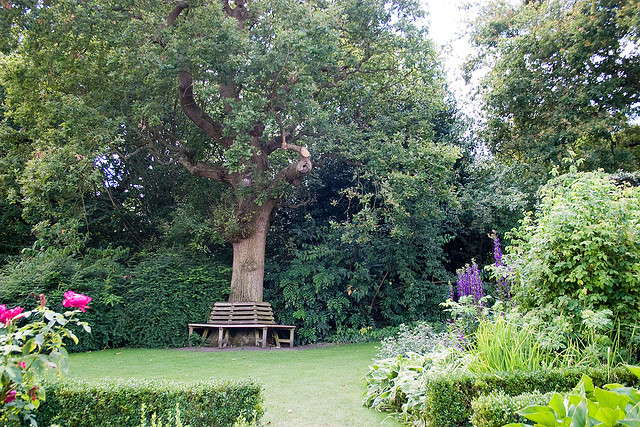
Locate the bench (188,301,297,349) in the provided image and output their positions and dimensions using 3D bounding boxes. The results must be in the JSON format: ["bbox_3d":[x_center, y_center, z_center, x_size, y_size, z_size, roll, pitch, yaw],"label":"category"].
[{"bbox_3d":[-2.339,3.320,13.822,2.969,1.275,1.128,3,-10,-9],"label":"bench"}]
